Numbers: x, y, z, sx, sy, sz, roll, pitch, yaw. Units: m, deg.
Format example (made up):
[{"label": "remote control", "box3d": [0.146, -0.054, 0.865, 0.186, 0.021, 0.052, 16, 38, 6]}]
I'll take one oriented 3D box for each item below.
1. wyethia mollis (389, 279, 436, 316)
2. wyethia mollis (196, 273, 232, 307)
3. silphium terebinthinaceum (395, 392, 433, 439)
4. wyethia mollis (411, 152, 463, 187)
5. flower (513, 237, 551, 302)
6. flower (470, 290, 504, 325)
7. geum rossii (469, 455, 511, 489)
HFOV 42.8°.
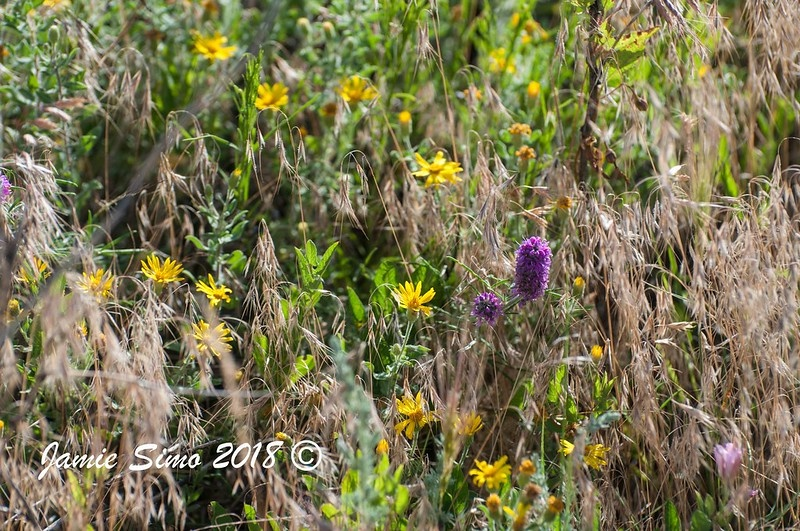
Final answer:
[{"label": "wyethia mollis", "box3d": [0.042, 0.096, 3.200, 0.103, 0.051, 0.110, -24, 59, -39]}, {"label": "wyethia mollis", "box3d": [-0.593, 0.115, 3.283, 0.086, 0.118, 0.053, 19, -26, 7]}, {"label": "silphium terebinthinaceum", "box3d": [0.046, 0.462, 3.154, 0.117, 0.149, 0.112, 3, -2, 2]}, {"label": "wyethia mollis", "box3d": [0.126, -0.323, 3.448, 0.161, 0.126, 0.233, 4, -3, 2]}, {"label": "flower", "box3d": [0.409, 0.013, 3.180, 0.109, 0.193, 0.159, 3, -2, 8]}, {"label": "flower", "box3d": [0.270, 0.136, 3.177, 0.075, 0.108, 0.090, -3, -7, 14]}, {"label": "geum rossii", "box3d": [0.271, 0.627, 3.093, 0.113, 0.138, 0.275, 3, -3, 6]}]
